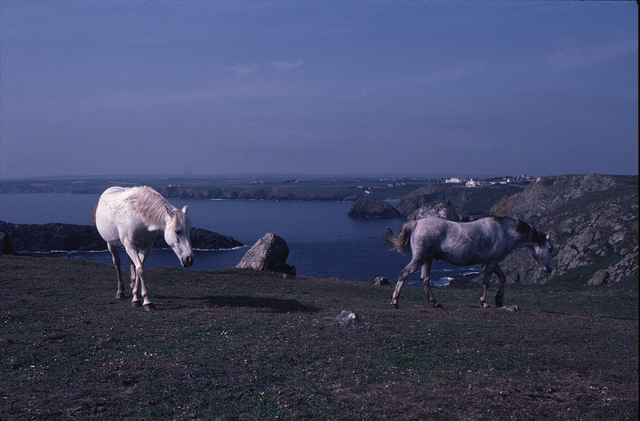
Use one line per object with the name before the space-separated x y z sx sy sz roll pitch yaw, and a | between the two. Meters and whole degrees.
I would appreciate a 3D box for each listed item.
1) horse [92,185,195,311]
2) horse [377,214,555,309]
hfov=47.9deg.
horse | -7.179 1.487 30.582 4.702 5.075 1.560 3 4 36
horse | 6.700 2.412 33.007 8.216 4.443 2.012 3 -2 -10
